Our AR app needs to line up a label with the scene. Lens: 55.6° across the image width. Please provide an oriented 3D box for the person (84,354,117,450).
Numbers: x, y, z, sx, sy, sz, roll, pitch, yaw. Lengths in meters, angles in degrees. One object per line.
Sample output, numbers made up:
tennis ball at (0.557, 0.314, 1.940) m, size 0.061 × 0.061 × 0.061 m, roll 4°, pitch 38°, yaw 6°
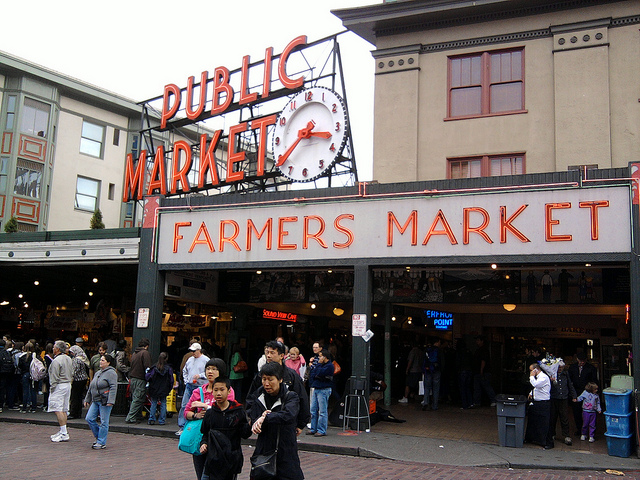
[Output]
person at (-5.061, 3.705, 13.988) m, size 0.646 × 2.079 × 1.002 m, roll 4°, pitch -11°, yaw -19°

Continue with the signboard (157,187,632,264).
signboard at (1.858, -0.307, 16.768) m, size 12.144 × 1.819 × 0.226 m, roll -3°, pitch -11°, yaw 19°

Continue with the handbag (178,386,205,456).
handbag at (-1.926, 2.968, 9.189) m, size 0.420 × 0.556 × 0.184 m, roll -3°, pitch -11°, yaw 18°

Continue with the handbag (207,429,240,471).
handbag at (-1.382, 3.018, 9.034) m, size 0.457 × 0.193 × 0.578 m, roll -11°, pitch 4°, yaw -37°

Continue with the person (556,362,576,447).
person at (6.394, 4.174, 15.649) m, size 0.430 × 2.007 × 1.237 m, roll -3°, pitch -11°, yaw 22°

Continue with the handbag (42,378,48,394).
handbag at (-7.815, 4.130, 17.268) m, size 0.128 × 0.392 × 0.516 m, roll 5°, pitch -11°, yaw -23°

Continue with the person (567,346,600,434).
person at (7.181, 4.182, 16.564) m, size 0.947 × 2.322 × 0.728 m, roll -3°, pitch -14°, yaw 28°

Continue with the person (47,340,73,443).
person at (-6.236, 3.617, 14.655) m, size 0.599 × 2.351 × 1.365 m, roll 5°, pitch -11°, yaw -22°

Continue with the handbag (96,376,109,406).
handbag at (-4.890, 3.525, 13.671) m, size 0.226 × 0.273 × 0.301 m, roll 10°, pitch -48°, yaw -13°

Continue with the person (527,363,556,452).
person at (5.411, 4.052, 14.897) m, size 0.598 × 2.018 × 0.653 m, roll -6°, pitch -12°, yaw 34°
